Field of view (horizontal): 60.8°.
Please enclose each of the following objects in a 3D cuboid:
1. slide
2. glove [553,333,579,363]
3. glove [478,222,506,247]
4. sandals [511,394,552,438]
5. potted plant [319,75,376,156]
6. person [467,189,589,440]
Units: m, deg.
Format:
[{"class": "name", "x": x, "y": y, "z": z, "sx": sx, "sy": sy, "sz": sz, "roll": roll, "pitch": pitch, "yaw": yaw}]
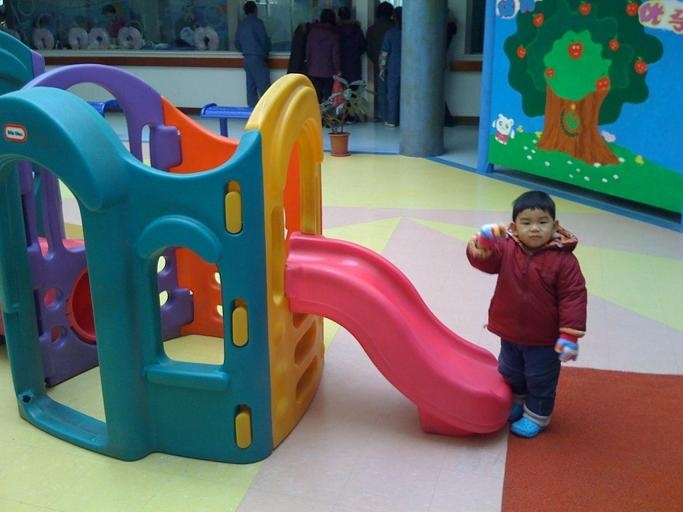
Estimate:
[{"class": "slide", "x": 0.275, "y": 0.380, "z": 2.667, "sx": 0.942, "sy": 0.784, "sz": 0.464, "roll": 7, "pitch": 16, "yaw": 18}, {"class": "glove", "x": 0.907, "y": 0.385, "z": 2.384, "sx": 0.092, "sy": 0.113, "sz": 0.039, "roll": 5, "pitch": -15, "yaw": -1}, {"class": "glove", "x": 0.629, "y": -0.090, "z": 2.448, "sx": 0.110, "sy": 0.078, "sz": 0.047, "roll": -11, "pitch": 3, "yaw": -1}, {"class": "sandals", "x": 0.872, "y": 0.735, "z": 2.688, "sx": 0.093, "sy": 0.204, "sz": 0.276, "roll": 13, "pitch": 12, "yaw": 35}, {"class": "potted plant", "x": 0.014, "y": -1.799, "z": 7.683, "sx": 0.826, "sy": 1.124, "sz": 0.783, "roll": 0, "pitch": -2, "yaw": -40}, {"class": "person", "x": 0.803, "y": 0.255, "z": 2.529, "sx": 0.439, "sy": 1.079, "sz": 0.375, "roll": 2, "pitch": 13, "yaw": 23}]
